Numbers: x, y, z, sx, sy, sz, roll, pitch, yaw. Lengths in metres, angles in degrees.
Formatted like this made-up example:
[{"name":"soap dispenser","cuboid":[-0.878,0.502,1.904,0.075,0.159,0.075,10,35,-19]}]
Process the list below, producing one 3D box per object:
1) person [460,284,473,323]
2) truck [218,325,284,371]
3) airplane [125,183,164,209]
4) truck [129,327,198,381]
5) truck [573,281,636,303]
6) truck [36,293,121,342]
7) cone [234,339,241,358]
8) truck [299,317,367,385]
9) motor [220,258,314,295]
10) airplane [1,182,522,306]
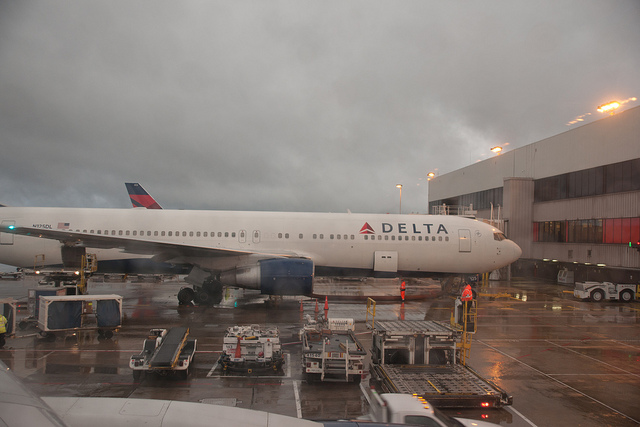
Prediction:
[{"name":"person","cuboid":[5.715,3.620,20.811,0.405,1.411,2.186,4,7,16]},{"name":"truck","cuboid":[-2.652,4.929,20.590,2.479,1.145,3.342,2,2,-8]},{"name":"airplane","cuboid":[-13.443,-1.206,39.502,3.779,1.485,2.500,4,7,-1]},{"name":"truck","cuboid":[-5.737,5.037,19.462,2.157,1.352,1.838,1,7,-6]},{"name":"truck","cuboid":[16.160,4.350,30.404,2.203,0.677,1.565,-1,-1,4]},{"name":"truck","cuboid":[-10.194,4.211,22.476,3.200,1.679,2.016,3,-5,-18]},{"name":"cone","cuboid":[-2.993,4.813,19.244,0.202,0.612,0.120,0,8,-9]},{"name":"truck","cuboid":[0.401,5.035,19.917,2.193,1.567,2.524,1,7,-4]},{"name":"motor","cuboid":[-2.475,2.959,25.783,4.097,1.452,1.719,1,0,4]},{"name":"airplane","cuboid":[-2.502,2.302,27.572,27.396,5.143,5.678,0,7,-11]}]
